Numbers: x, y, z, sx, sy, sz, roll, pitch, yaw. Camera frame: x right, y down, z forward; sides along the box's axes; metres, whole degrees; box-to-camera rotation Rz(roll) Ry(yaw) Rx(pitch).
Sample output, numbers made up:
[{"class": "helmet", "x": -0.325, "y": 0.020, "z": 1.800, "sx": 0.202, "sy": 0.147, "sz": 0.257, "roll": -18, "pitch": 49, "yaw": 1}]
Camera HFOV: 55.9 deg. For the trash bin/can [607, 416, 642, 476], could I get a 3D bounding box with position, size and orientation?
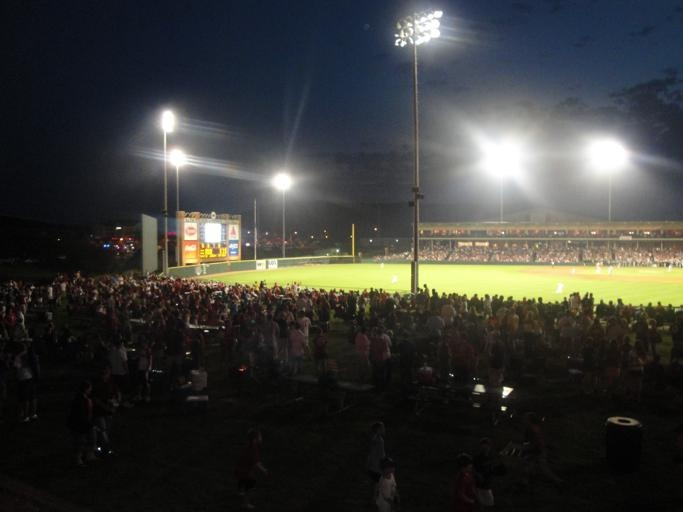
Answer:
[{"class": "trash bin/can", "x": 6.154, "y": 4.191, "z": 14.069, "sx": 0.690, "sy": 0.983, "sz": 0.433, "roll": 4, "pitch": 13, "yaw": 19}]
